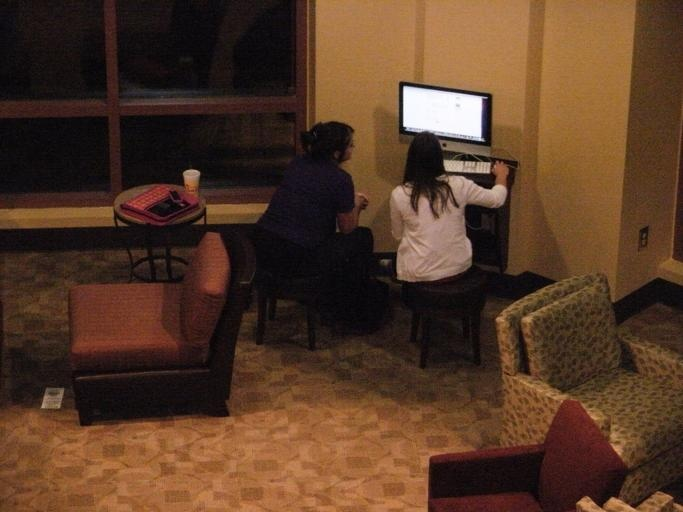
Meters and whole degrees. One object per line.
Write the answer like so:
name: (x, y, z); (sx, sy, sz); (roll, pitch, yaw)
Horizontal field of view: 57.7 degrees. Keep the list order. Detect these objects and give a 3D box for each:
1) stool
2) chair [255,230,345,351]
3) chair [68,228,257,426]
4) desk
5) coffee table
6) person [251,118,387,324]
stool: (0.788, 0.440, 4.729); (0.643, 0.681, 0.640); (-15, 21, -32)
chair: (-0.414, 0.294, 4.846); (0.773, 0.813, 0.812); (-1, -11, 31)
chair: (-1.209, 0.448, 4.169); (1.106, 0.927, 1.001); (-3, 28, -17)
desk: (0.751, -0.359, 4.654); (0.926, 1.192, 0.706); (-12, 28, -14)
coffee table: (-1.504, -0.128, 5.162); (0.744, 0.748, 0.734); (3, 28, -16)
person: (-0.157, -0.186, 4.675); (0.991, 1.599, 0.484); (-12, 26, -30)
